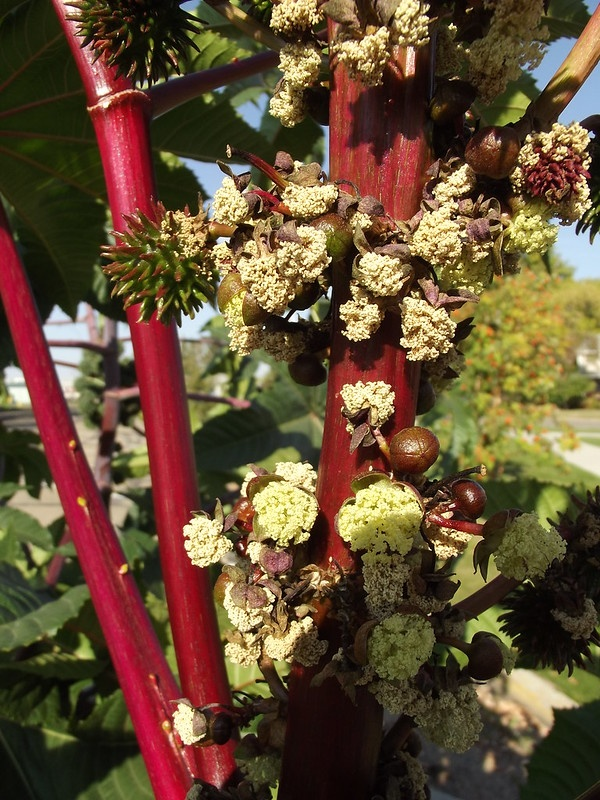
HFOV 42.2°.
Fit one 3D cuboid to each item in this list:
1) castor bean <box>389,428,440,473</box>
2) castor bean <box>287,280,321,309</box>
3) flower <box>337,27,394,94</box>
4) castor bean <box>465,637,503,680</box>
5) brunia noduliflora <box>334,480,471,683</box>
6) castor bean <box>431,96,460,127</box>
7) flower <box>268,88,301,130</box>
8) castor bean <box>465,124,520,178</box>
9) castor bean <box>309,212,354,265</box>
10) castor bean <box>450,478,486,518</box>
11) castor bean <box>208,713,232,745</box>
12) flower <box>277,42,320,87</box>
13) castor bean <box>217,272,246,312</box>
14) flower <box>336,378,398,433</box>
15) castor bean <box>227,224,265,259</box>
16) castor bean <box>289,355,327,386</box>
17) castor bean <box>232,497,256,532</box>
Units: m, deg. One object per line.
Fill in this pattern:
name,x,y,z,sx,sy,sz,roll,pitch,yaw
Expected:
castor bean,0.151,0.062,1.033,0.062,0.070,0.093,4,27,5
castor bean,0.007,-0.157,1.126,0.039,0.030,0.042,-32,44,-11
flower,0.082,-0.432,0.978,0.065,0.069,0.040,3,29,4
castor bean,0.242,0.338,1.019,0.066,0.046,0.047,6,-12,5
brunia noduliflora,0.144,0.212,0.987,0.154,0.155,0.163,2,6,11
castor bean,0.193,-0.384,1.033,0.027,0.028,0.032,-2,38,34
flower,-0.029,-0.438,1.175,0.047,0.024,0.056,44,36,7
castor bean,0.240,-0.304,0.964,0.069,0.059,0.056,8,15,8
castor bean,0.040,-0.207,0.998,0.052,0.057,0.037,-19,13,-7
castor bean,0.219,0.130,1.016,0.042,0.046,0.038,-26,18,7
castor bean,-0.117,0.481,1.137,0.030,0.039,0.034,5,28,6
flower,-0.004,-0.468,1.088,0.051,0.053,0.031,10,19,28
castor bean,-0.096,-0.146,1.068,0.036,0.058,0.027,-3,30,-8
flower,0.092,0.013,1.052,0.070,0.069,0.044,3,29,2
castor bean,-0.072,-0.204,1.020,0.045,0.045,0.017,3,1,23
castor bean,0.013,-0.046,1.202,0.048,0.027,0.054,11,-2,4
castor bean,-0.080,0.166,1.127,0.029,0.034,0.041,1,63,-26
